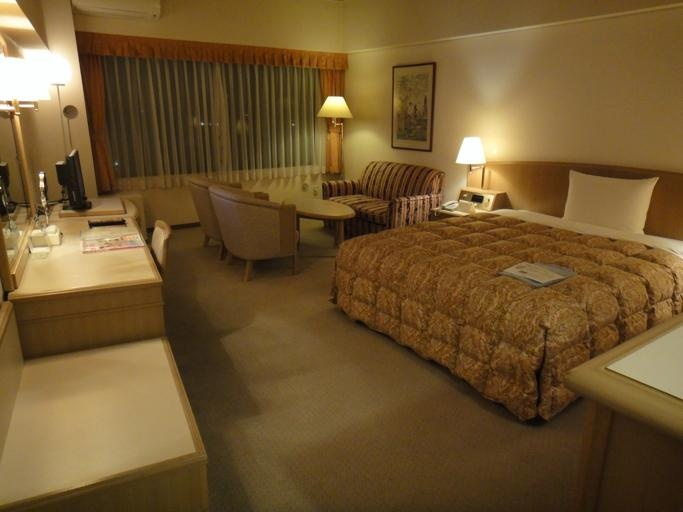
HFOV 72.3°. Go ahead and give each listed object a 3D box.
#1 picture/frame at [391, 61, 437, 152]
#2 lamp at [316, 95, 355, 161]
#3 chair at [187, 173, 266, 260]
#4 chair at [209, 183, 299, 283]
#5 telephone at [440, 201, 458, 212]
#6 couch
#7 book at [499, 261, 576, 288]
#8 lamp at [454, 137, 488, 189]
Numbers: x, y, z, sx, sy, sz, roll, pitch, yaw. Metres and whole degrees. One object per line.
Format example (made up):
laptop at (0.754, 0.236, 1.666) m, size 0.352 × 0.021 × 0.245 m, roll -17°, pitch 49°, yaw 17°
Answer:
picture/frame at (1.027, -2.082, 6.637) m, size 0.039 × 1.124 × 0.793 m, roll -13°, pitch 22°, yaw -36°
lamp at (-0.082, -2.191, 7.404) m, size 0.527 × 1.101 × 0.558 m, roll 3°, pitch 25°, yaw 3°
chair at (-1.526, -0.534, 5.680) m, size 0.832 × 0.877 × 0.886 m, roll 7°, pitch -4°, yaw -24°
chair at (-0.987, -0.337, 5.166) m, size 0.832 × 0.954 × 0.860 m, roll -17°, pitch 26°, yaw -40°
telephone at (1.367, -0.613, 5.833) m, size 0.271 × 0.094 × 0.155 m, roll -8°, pitch 13°, yaw -42°
couch at (0.541, -0.769, 6.664) m, size 0.906 × 1.024 × 1.678 m, roll -11°, pitch 21°, yaw -32°
book at (1.393, 0.115, 3.271) m, size 0.447 × 0.034 × 0.374 m, roll -14°, pitch 24°, yaw -36°
lamp at (1.574, -1.088, 5.630) m, size 0.356 × 0.686 × 0.356 m, roll -16°, pitch 24°, yaw -38°
